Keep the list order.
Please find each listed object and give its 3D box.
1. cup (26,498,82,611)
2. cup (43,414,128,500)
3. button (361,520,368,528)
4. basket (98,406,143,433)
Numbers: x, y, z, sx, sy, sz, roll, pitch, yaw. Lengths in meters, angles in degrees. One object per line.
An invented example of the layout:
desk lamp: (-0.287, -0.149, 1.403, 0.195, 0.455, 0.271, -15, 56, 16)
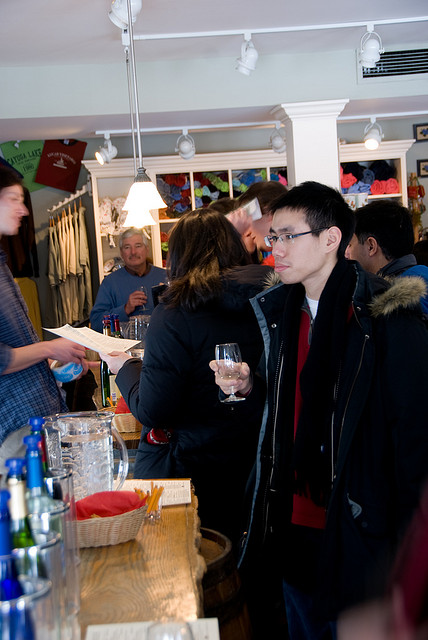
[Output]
cup: (-0.206, 0.298, 0.583, 0.074, 0.127, 0.073, -5, -20, -2)
cup: (-0.296, 0.356, 1.118, 0.220, 0.226, 0.135, 5, -26, -41)
button: (0.380, 0.513, 1.147, 0.014, 0.017, 0.003, -2, -5, 1)
basket: (-0.409, 0.492, 2.169, 0.136, 0.097, 0.081, 0, -5, -20)
